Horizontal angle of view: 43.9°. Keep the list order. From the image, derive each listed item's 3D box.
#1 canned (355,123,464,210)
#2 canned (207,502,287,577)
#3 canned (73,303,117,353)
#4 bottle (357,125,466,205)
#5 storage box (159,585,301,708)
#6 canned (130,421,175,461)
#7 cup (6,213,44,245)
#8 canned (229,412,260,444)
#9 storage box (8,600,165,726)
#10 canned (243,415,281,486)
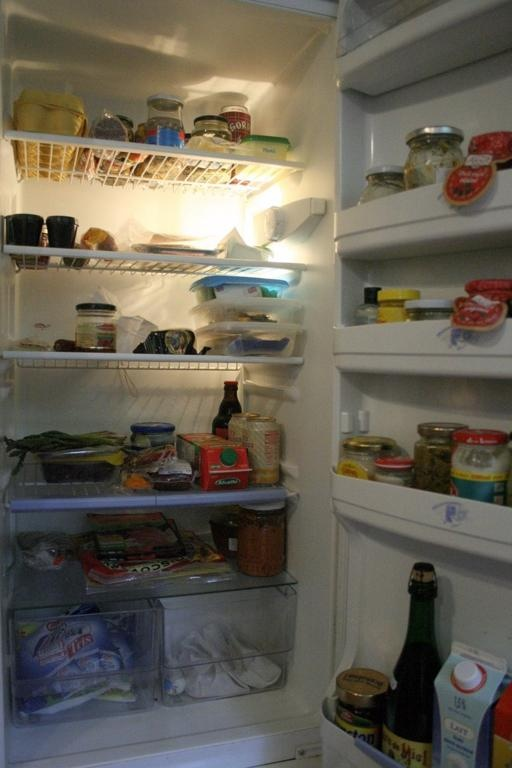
[{"bbox_3d":[0.192,-0.328,0.942,0.091,0.154,0.165,1,14,-4],"label":"canned"},{"bbox_3d":[-0.019,0.368,1.561,0.210,0.187,0.136,0,4,16],"label":"canned"},{"bbox_3d":[-0.339,-0.120,1.359,0.105,0.109,0.101,2,5,11],"label":"canned"},{"bbox_3d":[0.212,-0.333,0.951,0.092,0.153,0.164,4,15,9],"label":"bottle"},{"bbox_3d":[-0.066,0.604,1.472,0.321,0.213,0.172,-1,-7,-17],"label":"storage box"},{"bbox_3d":[-0.254,0.140,1.530,0.084,0.085,0.082,1,1,-5],"label":"canned"},{"bbox_3d":[-0.457,-0.302,1.249,0.068,0.064,0.056,0,6,-20],"label":"cup"},{"bbox_3d":[-0.041,0.105,1.529,0.068,0.063,0.069,1,2,-37],"label":"canned"},{"bbox_3d":[-0.330,0.577,1.344,0.312,0.201,0.172,-5,-3,-4],"label":"storage box"},{"bbox_3d":[0.010,0.161,1.518,0.082,0.162,0.058,2,6,-1],"label":"canned"}]
